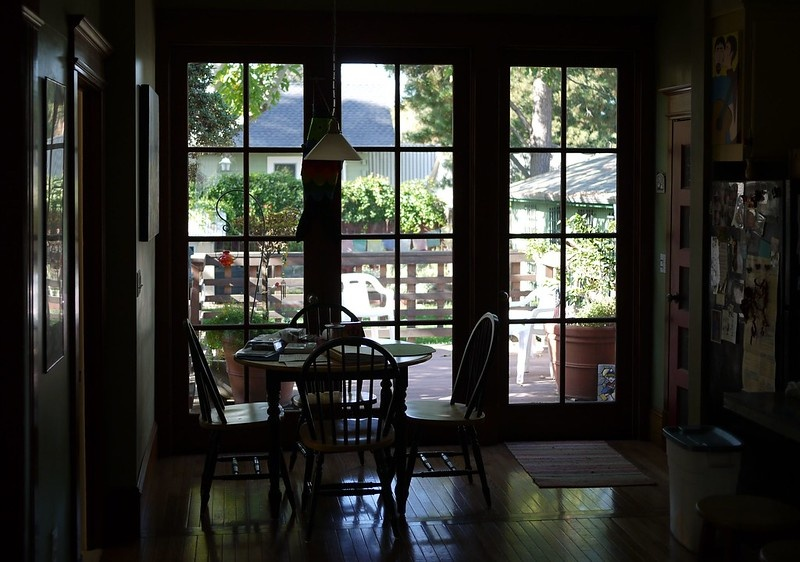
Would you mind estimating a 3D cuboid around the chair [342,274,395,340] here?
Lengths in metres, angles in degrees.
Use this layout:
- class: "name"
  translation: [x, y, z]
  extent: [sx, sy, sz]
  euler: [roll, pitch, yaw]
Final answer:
- class: "chair"
  translation: [-0.241, 0.160, 5.096]
  extent: [0.427, 0.655, 0.449]
  euler: [1, 3, 16]

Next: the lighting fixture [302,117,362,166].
- class: "lighting fixture"
  translation: [-0.397, -0.816, 4.061]
  extent: [0.270, 0.326, 0.303]
  euler: [-1, 2, -10]

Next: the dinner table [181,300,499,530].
- class: "dinner table"
  translation: [-0.178, 0.827, 4.129]
  extent: [1.364, 0.954, 1.447]
  euler: [-1, 0, -10]

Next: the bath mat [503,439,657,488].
- class: "bath mat"
  translation: [1.266, 1.302, 4.801]
  extent: [0.842, 0.029, 0.835]
  euler: [-1, 9, -6]

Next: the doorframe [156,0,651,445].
- class: "doorframe"
  translation: [-0.098, -0.572, 4.897]
  extent: [2.928, 2.748, 0.146]
  euler: [0, 3, 0]
